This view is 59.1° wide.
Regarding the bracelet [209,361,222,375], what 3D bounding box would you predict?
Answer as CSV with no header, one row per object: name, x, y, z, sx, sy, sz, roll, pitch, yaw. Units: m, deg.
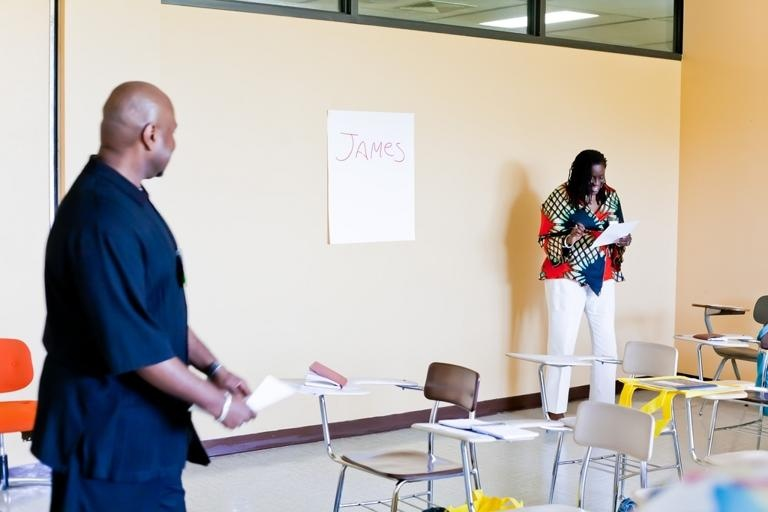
bracelet,-0.633,0.418,2.551,0.052,0.049,0.051,4,2,44

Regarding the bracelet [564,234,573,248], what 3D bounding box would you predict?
bracelet,1.487,-0.112,5.434,0.083,0.074,0.081,-8,18,-28

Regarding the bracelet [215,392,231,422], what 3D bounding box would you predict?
bracelet,-0.522,0.504,2.242,0.020,0.075,0.081,12,-7,-20
